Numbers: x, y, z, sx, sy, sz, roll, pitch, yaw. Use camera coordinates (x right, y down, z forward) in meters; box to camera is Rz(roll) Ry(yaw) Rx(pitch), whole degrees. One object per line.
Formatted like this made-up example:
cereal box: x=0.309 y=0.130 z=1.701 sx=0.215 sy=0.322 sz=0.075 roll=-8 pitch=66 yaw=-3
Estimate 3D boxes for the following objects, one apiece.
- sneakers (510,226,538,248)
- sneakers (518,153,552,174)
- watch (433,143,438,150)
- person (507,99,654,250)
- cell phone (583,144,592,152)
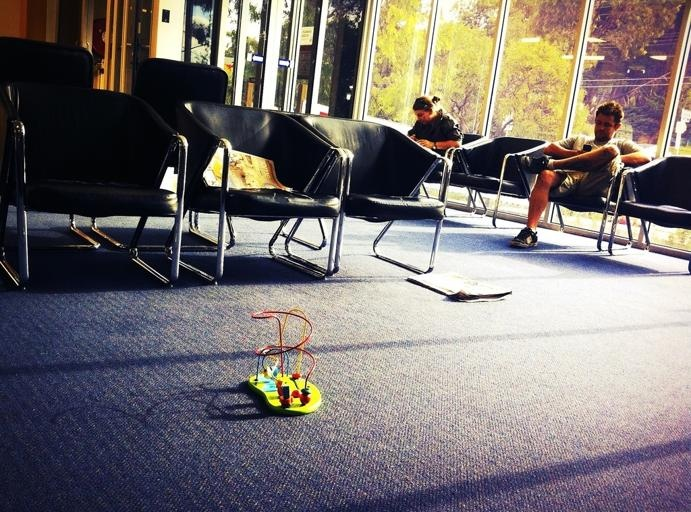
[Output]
sneakers: x=1.690 y=-0.184 z=4.963 sx=0.132 sy=0.165 sz=0.334 roll=31 pitch=18 yaw=32
sneakers: x=1.914 y=-0.936 z=5.331 sx=0.187 sy=0.113 sz=0.266 roll=2 pitch=2 yaw=-26
watch: x=1.004 y=-1.250 z=5.983 sx=0.054 sy=0.077 sz=0.060 roll=1 pitch=2 yaw=-10
person: x=2.282 y=-0.868 z=5.260 sx=1.177 sy=1.504 sz=0.941 roll=9 pitch=4 yaw=-3
cell phone: x=2.379 y=-1.067 z=5.179 sx=0.072 sy=0.076 sz=0.075 roll=5 pitch=5 yaw=-6
